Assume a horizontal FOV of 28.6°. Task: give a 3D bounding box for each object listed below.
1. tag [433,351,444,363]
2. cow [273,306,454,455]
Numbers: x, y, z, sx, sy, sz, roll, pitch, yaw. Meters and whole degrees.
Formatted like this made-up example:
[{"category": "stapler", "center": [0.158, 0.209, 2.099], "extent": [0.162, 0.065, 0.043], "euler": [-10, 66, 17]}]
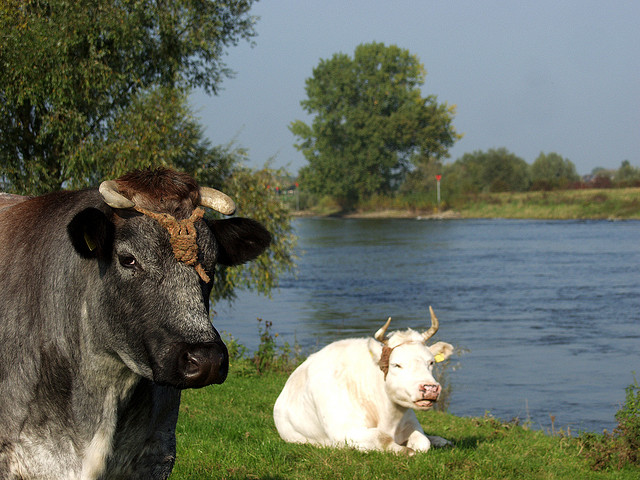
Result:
[{"category": "tag", "center": [2.348, 2.333, 24.919], "extent": [0.173, 0.152, 0.325], "euler": [9, 3, 42]}, {"category": "cow", "center": [1.168, 3.056, 25.377], "extent": [1.941, 2.643, 3.842], "euler": [2, -15, -39]}]
